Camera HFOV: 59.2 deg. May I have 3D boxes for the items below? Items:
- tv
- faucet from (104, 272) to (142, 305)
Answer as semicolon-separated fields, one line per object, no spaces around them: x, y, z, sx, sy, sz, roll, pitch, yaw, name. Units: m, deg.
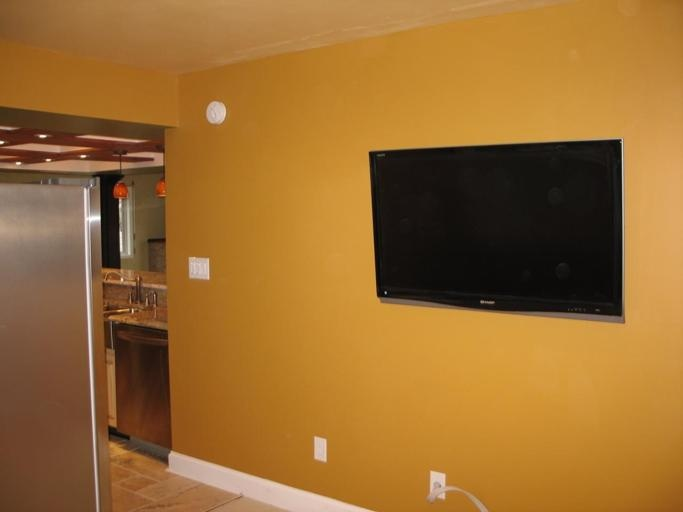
0.724;-0.128;2.683;0.890;0.627;0.065;2;15;32;tv
-1.970;0.276;5.375;0.199;0.265;0.757;-3;5;-36;faucet
